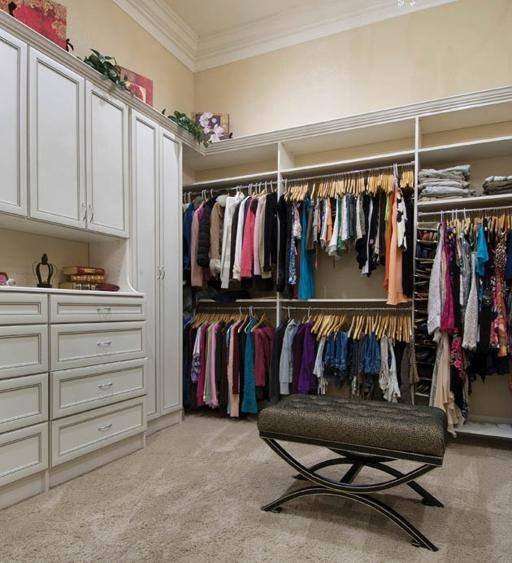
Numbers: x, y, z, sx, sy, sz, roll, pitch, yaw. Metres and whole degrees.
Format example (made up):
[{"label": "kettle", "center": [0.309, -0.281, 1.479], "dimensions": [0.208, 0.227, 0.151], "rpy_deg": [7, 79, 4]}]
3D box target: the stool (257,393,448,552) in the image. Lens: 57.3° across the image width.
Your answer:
[{"label": "stool", "center": [0.447, 0.815, 2.146], "dimensions": [0.789, 0.479, 0.461], "rpy_deg": [-1, -2, 26]}]
